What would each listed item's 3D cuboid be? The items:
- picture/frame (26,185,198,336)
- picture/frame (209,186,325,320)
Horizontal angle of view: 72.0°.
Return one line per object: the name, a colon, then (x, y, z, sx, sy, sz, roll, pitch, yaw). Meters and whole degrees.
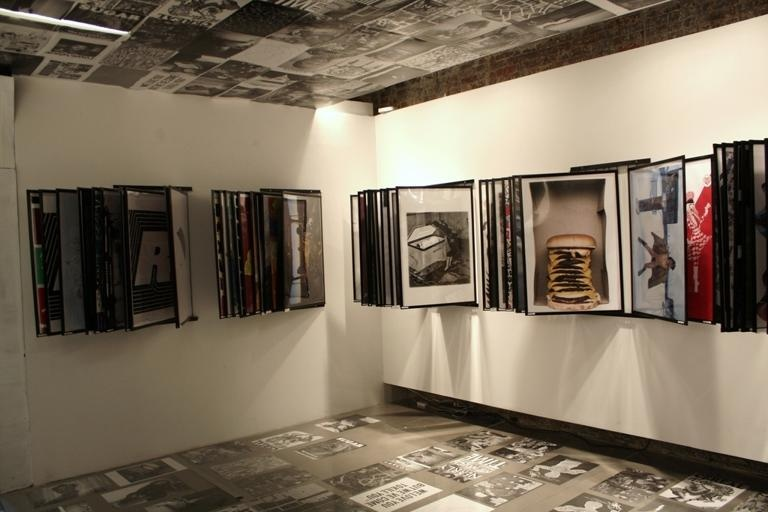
picture/frame: (-2.262, 0.039, 4.539, 1.322, 1.267, 1.152, -4, 4, -43)
picture/frame: (-1.216, -0.028, 5.473, 1.098, 1.557, 1.263, 1, 3, 21)
